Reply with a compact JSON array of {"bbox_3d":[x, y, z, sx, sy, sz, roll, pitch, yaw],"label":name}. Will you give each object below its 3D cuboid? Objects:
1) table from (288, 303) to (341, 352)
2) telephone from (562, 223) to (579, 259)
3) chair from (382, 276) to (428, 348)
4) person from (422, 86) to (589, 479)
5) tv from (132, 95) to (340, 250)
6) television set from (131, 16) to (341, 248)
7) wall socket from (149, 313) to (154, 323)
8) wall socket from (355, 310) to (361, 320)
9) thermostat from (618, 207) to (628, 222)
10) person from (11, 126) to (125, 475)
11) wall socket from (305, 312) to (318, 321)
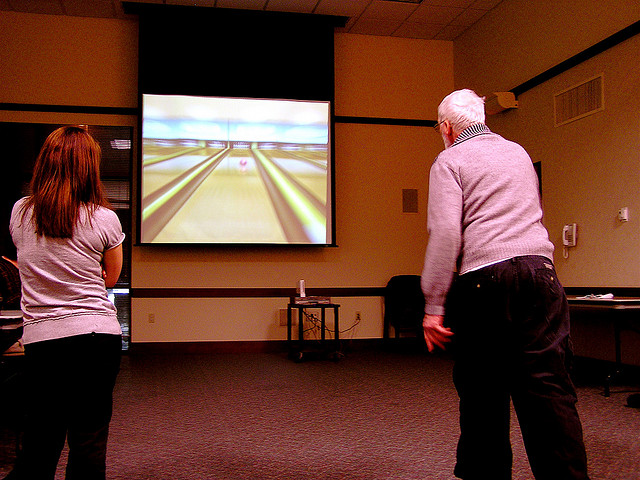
[{"bbox_3d":[-0.137,1.048,6.553,0.768,0.587,0.757,3,-5,-40],"label":"table"},{"bbox_3d":[2.670,0.015,5.604,0.054,0.378,0.223,0,-2,-14],"label":"telephone"},{"bbox_3d":[1.116,0.967,7.042,0.561,0.953,0.478,-1,-2,5],"label":"chair"},{"bbox_3d":[0.728,0.155,2.166,0.594,1.645,0.284,-1,-2,10],"label":"person"},{"bbox_3d":[-1.207,-0.847,6.750,2.149,1.479,0.024,1,-8,-7],"label":"tv"},{"bbox_3d":[-1.070,-1.352,6.766,2.520,2.896,0.158,0,-2,-10],"label":"television set"},{"bbox_3d":[-2.159,0.989,6.692,0.054,0.112,0.013,0,-2,-16],"label":"wall socket"},{"bbox_3d":[0.513,1.017,7.140,0.081,0.128,0.016,0,-2,-22],"label":"wall socket"},{"bbox_3d":[2.895,-0.235,5.006,0.033,0.138,0.088,0,-2,-15],"label":"thermostat"},{"bbox_3d":[-1.002,0.229,2.082,0.388,1.371,0.200,1,-2,-30],"label":"person"},{"bbox_3d":[-0.116,0.993,7.007,0.185,0.165,0.097,0,-27,-3],"label":"wall socket"}]
